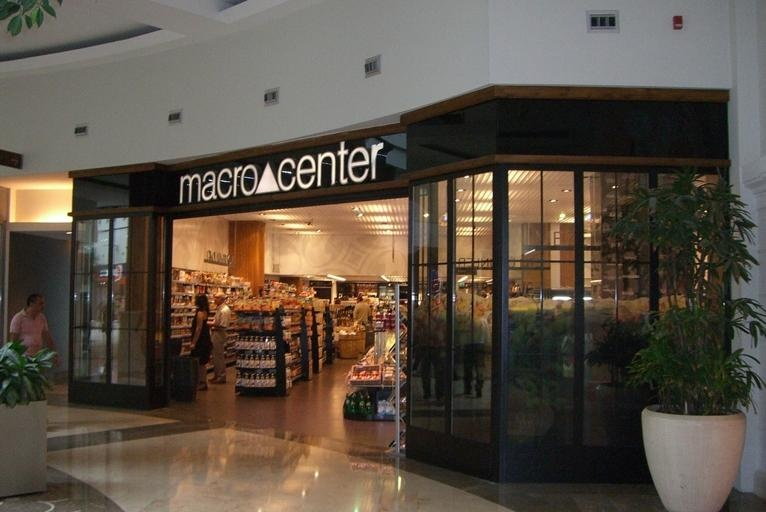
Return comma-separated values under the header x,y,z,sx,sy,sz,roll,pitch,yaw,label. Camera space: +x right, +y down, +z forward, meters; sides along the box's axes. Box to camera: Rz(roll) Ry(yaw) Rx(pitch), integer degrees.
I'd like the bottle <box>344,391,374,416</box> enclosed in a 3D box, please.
x,y,z,sx,sy,sz,roll,pitch,yaw,label
-0.396,2.372,10.726,0.428,0.266,0.429,1,-1,0,bottle
